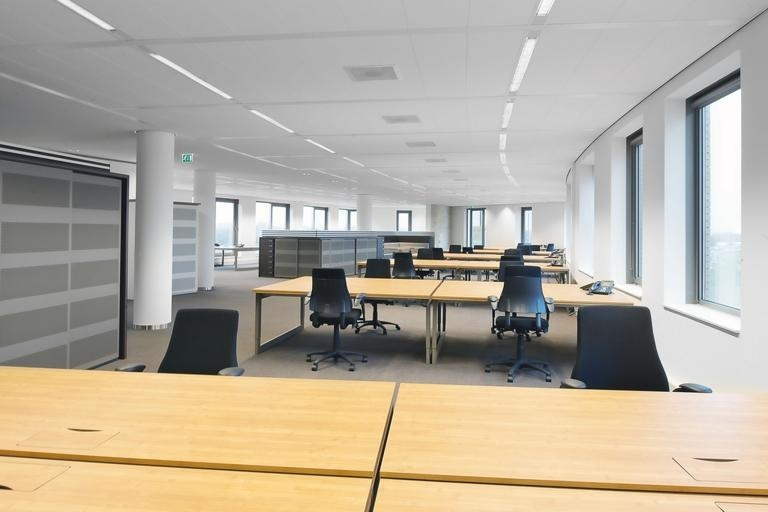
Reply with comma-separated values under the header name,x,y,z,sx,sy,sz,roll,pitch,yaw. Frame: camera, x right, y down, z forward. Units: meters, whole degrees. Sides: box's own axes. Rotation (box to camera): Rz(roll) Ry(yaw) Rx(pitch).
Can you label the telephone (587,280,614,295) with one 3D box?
name,x,y,z,sx,sy,sz,roll,pitch,yaw
telephone,2.610,0.369,6.006,0.180,0.067,0.239,-2,10,34
